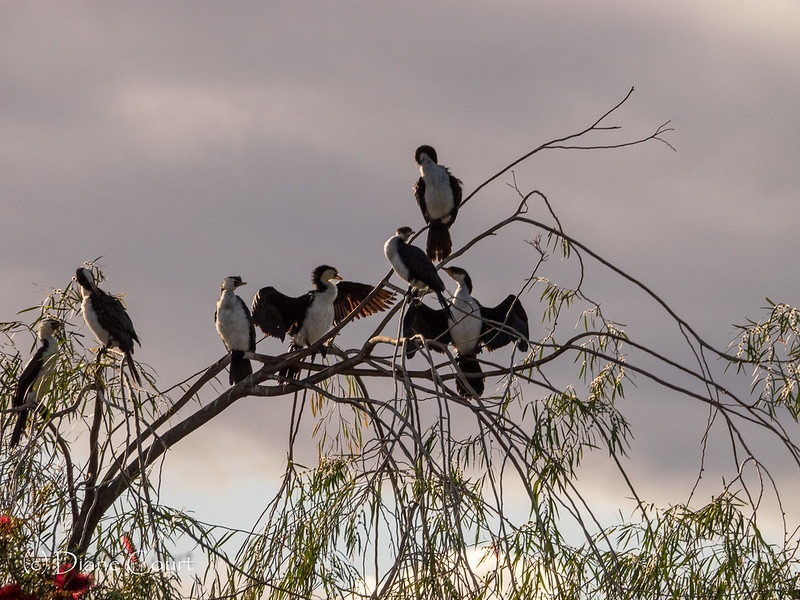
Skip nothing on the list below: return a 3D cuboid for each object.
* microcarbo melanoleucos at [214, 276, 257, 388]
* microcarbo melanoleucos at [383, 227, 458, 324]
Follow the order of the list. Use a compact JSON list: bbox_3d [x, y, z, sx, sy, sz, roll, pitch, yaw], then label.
[{"bbox_3d":[-1.154,0.268,9.252,0.203,0.750,0.418,-7,5,1],"label":"microcarbo melanoleucos"},{"bbox_3d":[0.130,-0.237,9.542,0.628,0.435,0.204,27,-3,22],"label":"microcarbo melanoleucos"}]
